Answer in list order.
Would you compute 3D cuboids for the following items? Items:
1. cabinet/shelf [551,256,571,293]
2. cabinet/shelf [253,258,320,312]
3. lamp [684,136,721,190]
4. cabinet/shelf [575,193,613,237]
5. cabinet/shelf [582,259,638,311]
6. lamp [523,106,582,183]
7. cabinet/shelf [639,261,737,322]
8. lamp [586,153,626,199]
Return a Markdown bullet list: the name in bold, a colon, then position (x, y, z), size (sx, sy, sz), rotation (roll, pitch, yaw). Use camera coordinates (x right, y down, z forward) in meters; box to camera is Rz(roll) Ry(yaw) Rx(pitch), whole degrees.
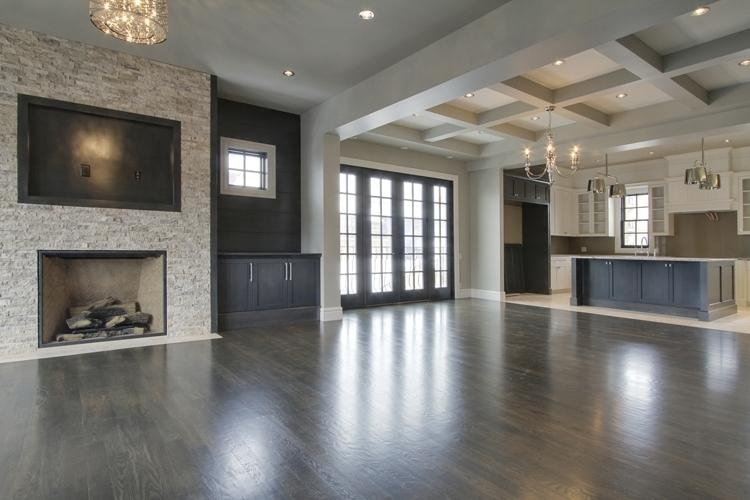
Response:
- **cabinet/shelf**: position (4.851, 0.618, 12.219), size (0.696, 1.004, 0.515), rotation (-2, 5, 3)
- **cabinet/shelf**: position (-1.551, 0.528, 8.169), size (1.156, 1.014, 0.449), rotation (-1, 11, -18)
- **lamp**: position (6.639, -1.793, 9.440), size (0.448, 1.360, 1.073), rotation (0, -1, 42)
- **cabinet/shelf**: position (5.839, -0.969, 12.619), size (0.741, 1.265, 0.330), rotation (-2, -8, 25)
- **cabinet/shelf**: position (4.964, 0.582, 9.736), size (1.116, 1.070, 0.617), rotation (0, 14, 34)
- **lamp**: position (3.065, -1.821, 8.150), size (0.885, 1.425, 0.979), rotation (0, 3, 20)
- **cabinet/shelf**: position (5.999, 0.708, 9.107), size (1.614, 1.044, 1.609), rotation (-2, 1, -17)
- **lamp**: position (4.504, -1.522, 9.054), size (0.628, 0.883, 0.702), rotation (-7, 13, -23)
